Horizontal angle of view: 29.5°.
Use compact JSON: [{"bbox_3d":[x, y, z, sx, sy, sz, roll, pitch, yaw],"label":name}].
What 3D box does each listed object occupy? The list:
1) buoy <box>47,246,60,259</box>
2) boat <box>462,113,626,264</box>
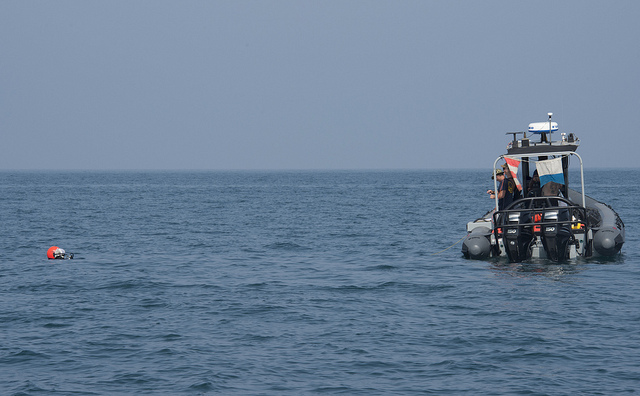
[{"bbox_3d":[-14.079,2.861,64.310,0.555,0.572,0.865,-3,8,-13],"label":"buoy"},{"bbox_3d":[11.018,-0.543,60.602,7.292,7.348,4.063,-1,9,3],"label":"boat"}]
